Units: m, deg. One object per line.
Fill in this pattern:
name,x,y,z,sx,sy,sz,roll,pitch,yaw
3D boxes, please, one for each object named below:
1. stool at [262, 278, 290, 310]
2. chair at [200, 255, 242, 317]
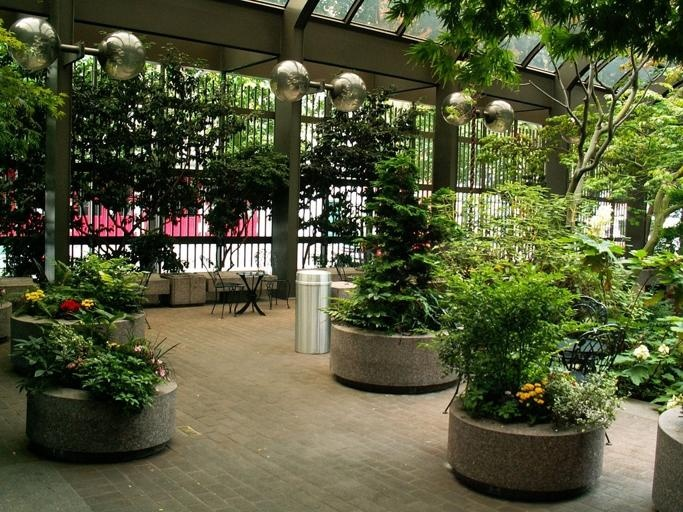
stool,-1.806,0.966,15.473,0.768,0.990,0.721,0,-2,-31
chair,-2.918,0.891,14.513,1.025,1.494,0.900,0,3,18
